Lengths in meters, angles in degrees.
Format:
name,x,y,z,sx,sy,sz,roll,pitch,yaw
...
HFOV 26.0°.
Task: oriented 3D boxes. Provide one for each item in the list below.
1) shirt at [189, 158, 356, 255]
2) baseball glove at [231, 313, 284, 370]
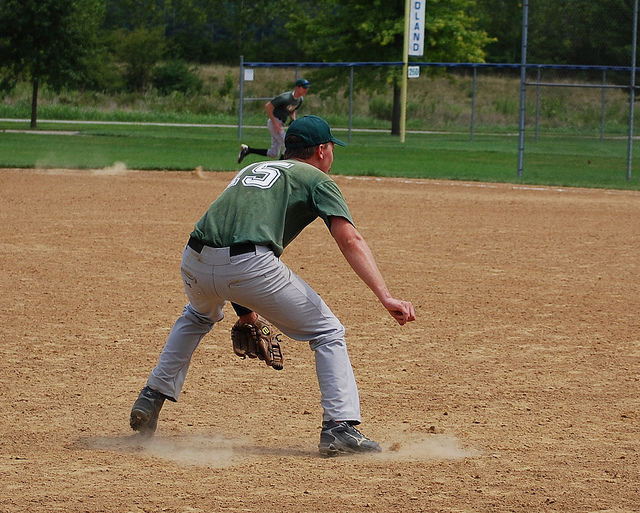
name,x,y,z,sx,sy,sz,roll,pitch,yaw
shirt,-0.602,-0.551,17.174,1.670,0.866,0.664,11,-9,39
baseball glove,-0.769,1.029,16.141,0.477,0.303,0.660,34,37,19
